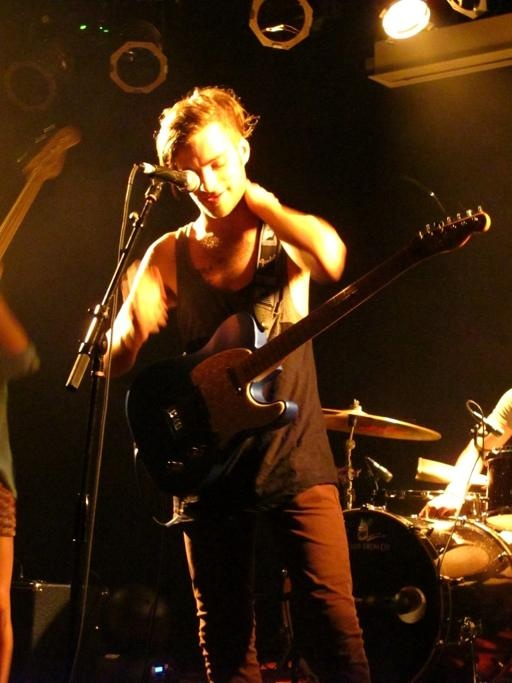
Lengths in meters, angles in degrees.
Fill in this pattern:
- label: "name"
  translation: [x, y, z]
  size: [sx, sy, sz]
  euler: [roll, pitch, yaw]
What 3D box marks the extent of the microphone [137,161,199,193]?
- label: "microphone"
  translation: [-0.268, -0.517, 2.246]
  size: [0.072, 0.067, 0.219]
  euler: [-12, -9, 42]
